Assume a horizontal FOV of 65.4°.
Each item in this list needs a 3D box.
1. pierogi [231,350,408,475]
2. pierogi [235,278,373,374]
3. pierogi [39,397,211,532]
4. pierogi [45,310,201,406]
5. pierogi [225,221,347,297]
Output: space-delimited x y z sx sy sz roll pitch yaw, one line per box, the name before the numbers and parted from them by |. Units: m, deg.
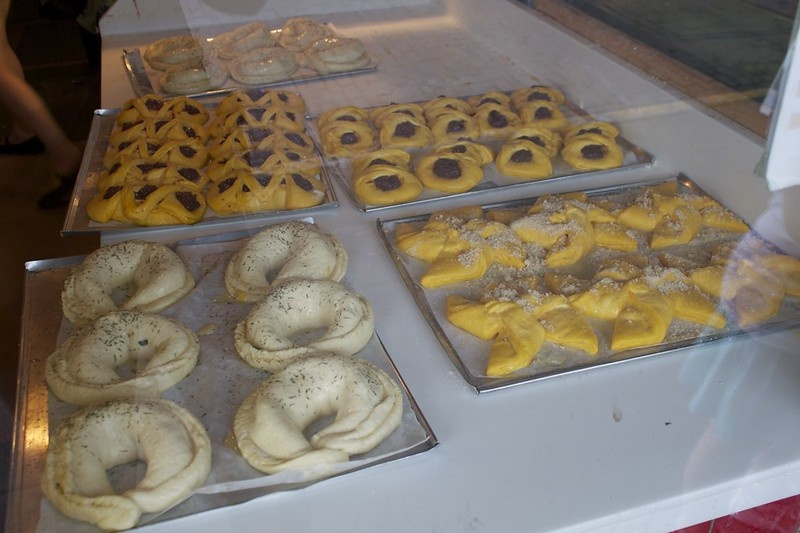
pierogi | -0.198 0.357 1.506 0.393 0.093 0.294 -30 57 -19
pierogi | -0.252 0.148 1.665 0.263 0.095 0.279 20 41 24
pierogi | -0.632 0.448 1.448 0.336 0.089 0.334 -37 59 -23
pierogi | -0.730 0.227 1.665 0.391 0.098 0.341 11 32 14
pierogi | -0.352 -0.018 1.847 0.246 0.068 0.263 22 40 21
